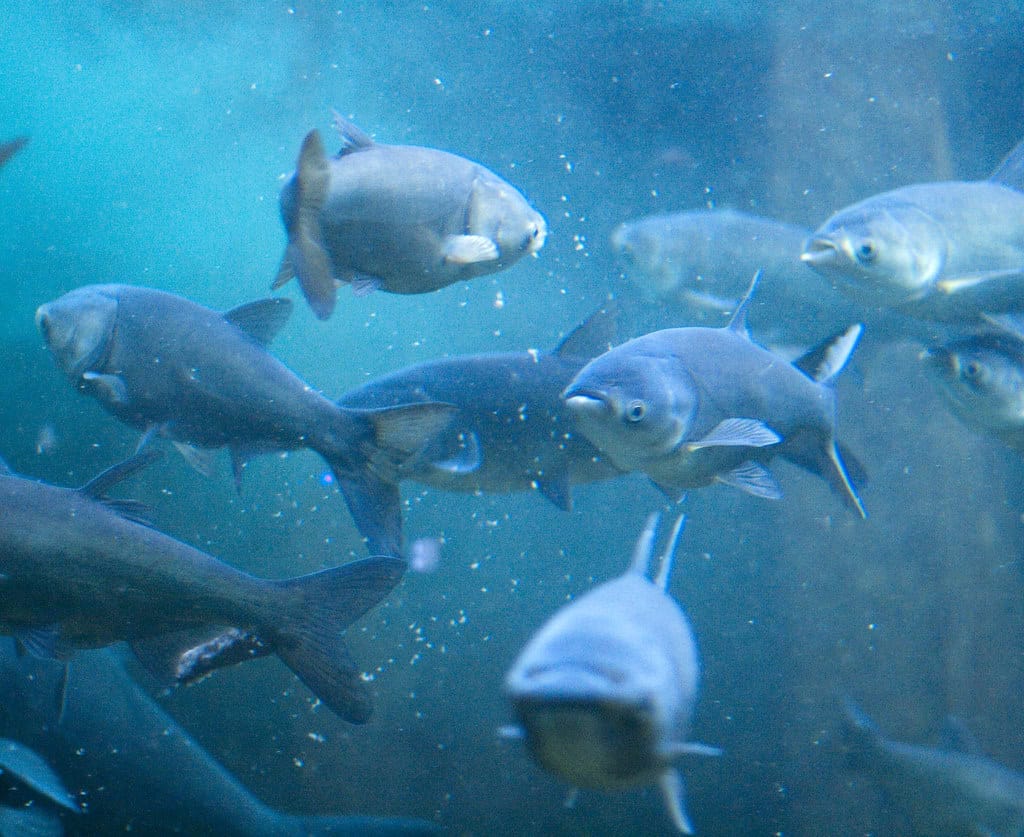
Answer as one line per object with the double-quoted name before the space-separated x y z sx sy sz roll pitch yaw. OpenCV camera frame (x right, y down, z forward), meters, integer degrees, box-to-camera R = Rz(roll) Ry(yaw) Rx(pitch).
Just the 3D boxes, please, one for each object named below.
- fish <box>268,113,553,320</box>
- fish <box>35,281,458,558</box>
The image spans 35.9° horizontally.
"fish" -0.407 -0.753 6.132 0.942 0.692 0.626 2 90 -17
"fish" -1.213 0.057 7.038 1.426 0.376 0.621 23 86 -20
